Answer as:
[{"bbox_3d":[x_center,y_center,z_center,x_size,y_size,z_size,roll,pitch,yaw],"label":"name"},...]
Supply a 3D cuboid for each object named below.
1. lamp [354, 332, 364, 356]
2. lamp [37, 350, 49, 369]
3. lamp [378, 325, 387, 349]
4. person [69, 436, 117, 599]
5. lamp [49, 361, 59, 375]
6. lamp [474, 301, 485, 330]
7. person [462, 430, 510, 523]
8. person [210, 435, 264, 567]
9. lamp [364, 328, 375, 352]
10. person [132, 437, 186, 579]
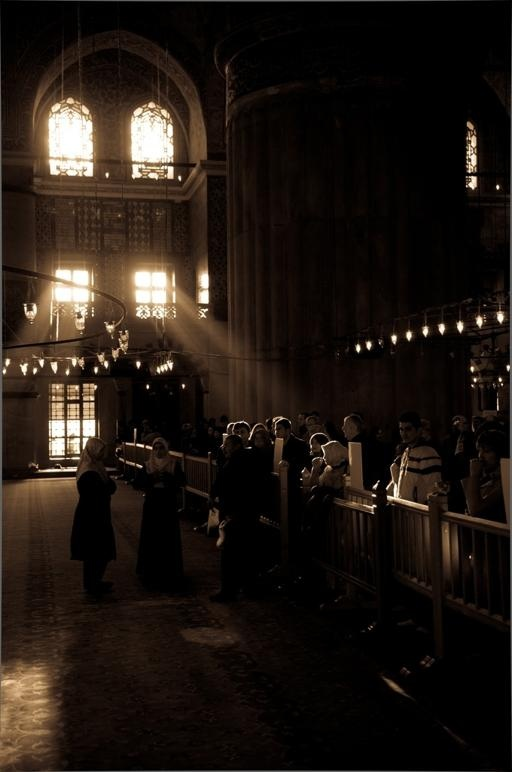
[{"bbox_3d":[1.780,-0.696,15.035,0.167,0.340,0.714,-3,3,7],"label":"lamp"},{"bbox_3d":[-5.302,-0.680,21.665,0.312,0.519,0.363,2,0,-24],"label":"lamp"},{"bbox_3d":[2.228,-0.832,15.280,0.129,0.392,0.582,-2,3,19],"label":"lamp"},{"bbox_3d":[-1.482,1.165,7.943,0.419,1.004,0.523,-3,2,-14],"label":"person"},{"bbox_3d":[-5.034,-0.469,21.697,0.199,0.475,0.235,-2,6,-20],"label":"lamp"},{"bbox_3d":[3.147,-0.968,12.215,0.164,0.384,2.181,-2,4,15],"label":"lamp"},{"bbox_3d":[1.421,0.572,5.350,0.195,0.923,0.252,4,-16,12],"label":"person"},{"bbox_3d":[-0.172,1.105,7.765,0.305,1.380,0.317,3,2,29],"label":"person"},{"bbox_3d":[1.943,-0.767,14.832,0.261,0.455,0.314,0,-3,0],"label":"lamp"},{"bbox_3d":[-0.898,1.127,8.138,0.337,1.464,0.349,1,18,-1],"label":"person"}]
